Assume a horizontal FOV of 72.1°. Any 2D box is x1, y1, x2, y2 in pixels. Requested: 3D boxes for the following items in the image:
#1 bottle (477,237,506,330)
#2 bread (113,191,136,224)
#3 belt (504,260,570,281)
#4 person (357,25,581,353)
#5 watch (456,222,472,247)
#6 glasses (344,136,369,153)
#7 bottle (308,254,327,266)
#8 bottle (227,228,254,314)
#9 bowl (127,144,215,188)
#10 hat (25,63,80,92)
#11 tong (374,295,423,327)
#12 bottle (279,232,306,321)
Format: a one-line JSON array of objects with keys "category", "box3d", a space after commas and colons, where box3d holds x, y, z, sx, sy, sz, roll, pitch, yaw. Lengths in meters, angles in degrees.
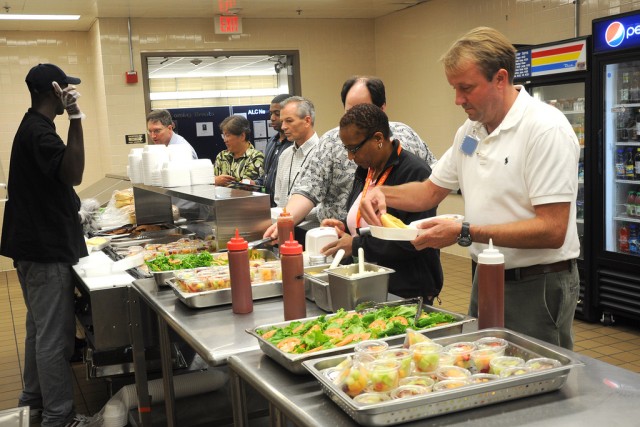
[{"category": "bottle", "box3d": [0.616, 0.262, 1.597, 0.088, 0.334, 0.059, 2, 12, 20]}, {"category": "bread", "box3d": [-2.002, -0.066, 4.499, 0.275, 0.119, 0.344, -4, 16, -26]}, {"category": "belt", "box3d": [1.010, 0.263, 2.067, 0.177, 0.038, 0.155, -7, 6, 7]}, {"category": "person", "box3d": [0.740, -0.080, 2.065, 0.823, 1.512, 0.653, 5, 13, 32]}, {"category": "watch", "box3d": [0.602, 0.085, 1.903, 0.071, 0.097, 0.107, -1, 24, 12]}, {"category": "glasses", "box3d": [0.195, -0.389, 2.405, 0.092, 0.024, 0.088, -39, 12, -10]}, {"category": "bottle", "box3d": [-0.019, 0.251, 2.346, 0.095, 0.054, 0.089, -2, 11, 0]}, {"category": "bottle", "box3d": [-0.396, 0.281, 2.152, 0.105, 0.413, 0.142, -5, 11, -12]}, {"category": "bowl", "box3d": [-1.312, -0.418, 3.842, 0.395, 0.351, 1.045, -10, 14, -37]}, {"category": "hat", "box3d": [-1.989, -1.037, 3.259, 0.246, 0.166, 0.371, 25, 39, 32]}, {"category": "tong", "box3d": [0.325, 0.402, 1.822, 0.150, 0.045, 0.096, -8, 15, -1]}, {"category": "bottle", "box3d": [-0.125, 0.295, 1.946, 0.103, 0.393, 0.245, -3, 11, -3]}]
